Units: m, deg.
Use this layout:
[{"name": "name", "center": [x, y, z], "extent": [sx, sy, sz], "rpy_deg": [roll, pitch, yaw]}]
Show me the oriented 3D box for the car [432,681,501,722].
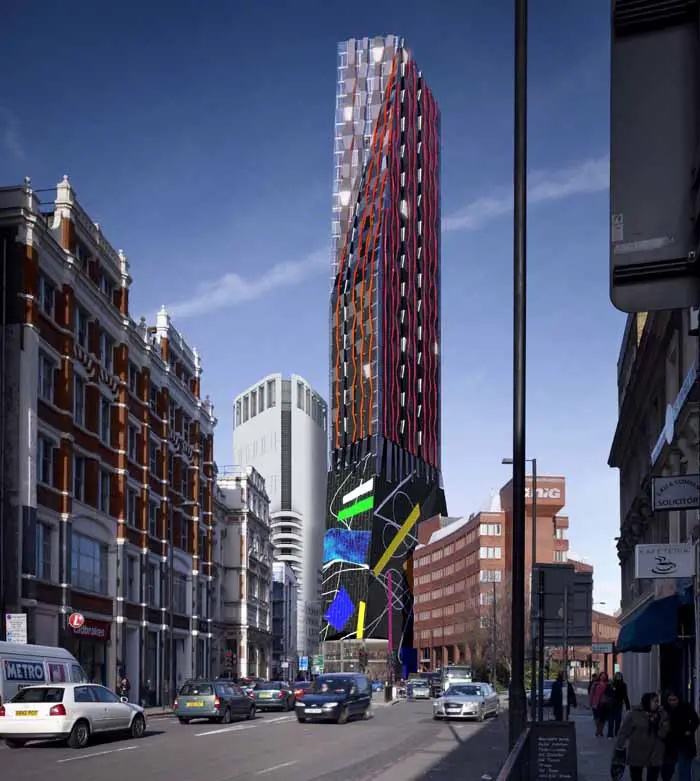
[{"name": "car", "center": [3.532, 9.478, 43.136], "extent": [0.918, 0.858, 2.661], "rpy_deg": [-5, -21, 12]}]
